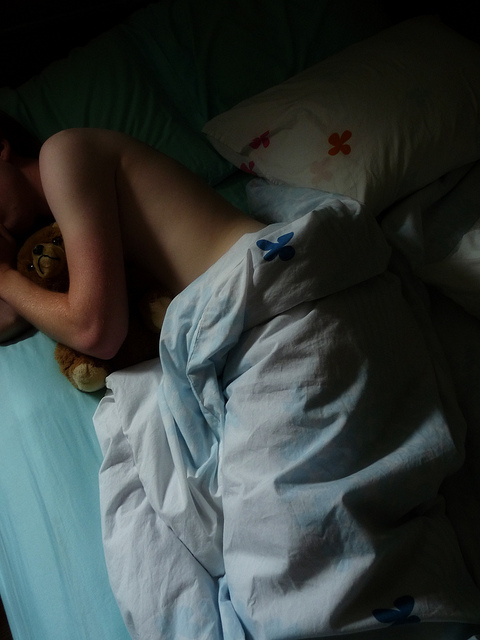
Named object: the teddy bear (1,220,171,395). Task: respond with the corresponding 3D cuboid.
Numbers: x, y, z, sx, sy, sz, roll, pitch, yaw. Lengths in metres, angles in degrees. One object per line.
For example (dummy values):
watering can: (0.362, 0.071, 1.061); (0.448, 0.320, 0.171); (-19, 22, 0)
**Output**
teddy bear: (-0.272, -0.045, 1.081); (0.117, 0.303, 0.308); (-29, 83, 17)
